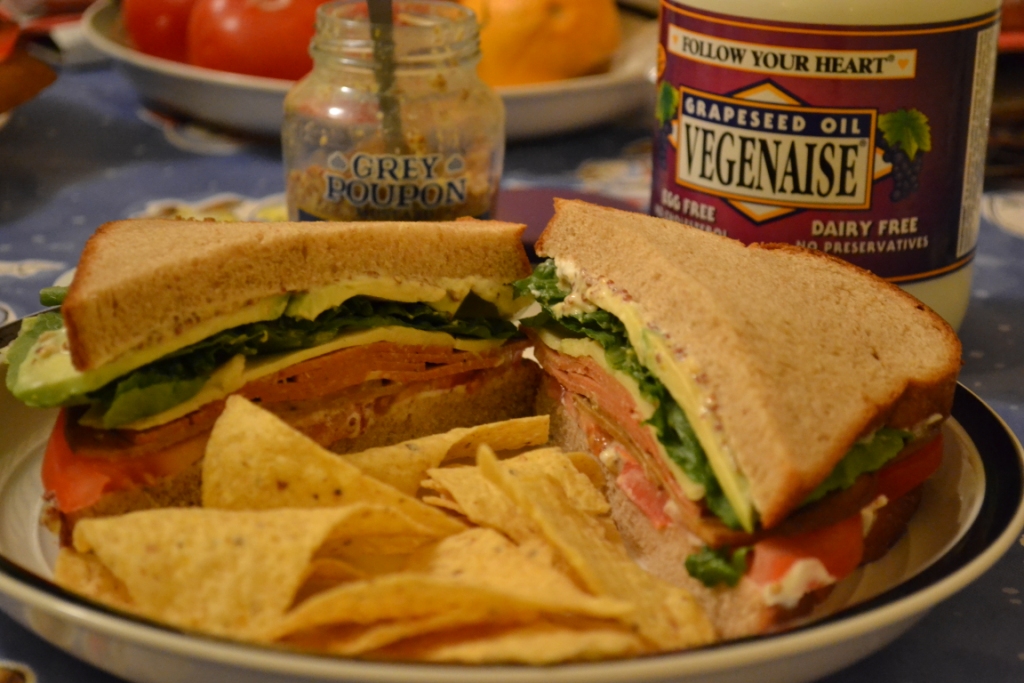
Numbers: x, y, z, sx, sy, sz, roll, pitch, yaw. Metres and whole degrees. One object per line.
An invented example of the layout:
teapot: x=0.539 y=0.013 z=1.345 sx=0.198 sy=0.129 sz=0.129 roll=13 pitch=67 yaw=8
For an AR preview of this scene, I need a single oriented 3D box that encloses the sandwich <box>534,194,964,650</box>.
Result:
sandwich: x=0.402 y=0.075 z=1.808 sx=0.607 sy=0.437 sz=0.889 roll=-8 pitch=36 yaw=-31
